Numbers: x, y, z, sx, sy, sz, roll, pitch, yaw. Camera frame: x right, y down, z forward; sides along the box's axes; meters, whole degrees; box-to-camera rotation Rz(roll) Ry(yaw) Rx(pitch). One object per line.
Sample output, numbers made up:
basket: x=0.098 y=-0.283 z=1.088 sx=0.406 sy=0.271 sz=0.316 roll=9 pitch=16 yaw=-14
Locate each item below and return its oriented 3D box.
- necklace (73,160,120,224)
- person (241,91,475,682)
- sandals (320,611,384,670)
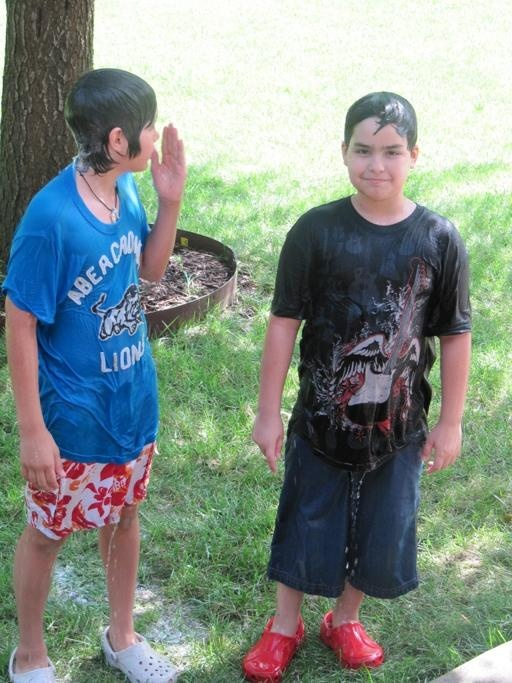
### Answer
necklace: x=-0.373 y=-0.353 z=1.601 sx=0.036 sy=0.145 sz=0.114 roll=-21 pitch=12 yaw=24
person: x=0.288 y=0.208 z=1.844 sx=0.580 sy=1.689 sz=0.302 roll=9 pitch=10 yaw=5
sandals: x=0.300 y=0.937 z=2.088 sx=0.098 sy=0.082 sz=0.196 roll=-8 pitch=15 yaw=-27
